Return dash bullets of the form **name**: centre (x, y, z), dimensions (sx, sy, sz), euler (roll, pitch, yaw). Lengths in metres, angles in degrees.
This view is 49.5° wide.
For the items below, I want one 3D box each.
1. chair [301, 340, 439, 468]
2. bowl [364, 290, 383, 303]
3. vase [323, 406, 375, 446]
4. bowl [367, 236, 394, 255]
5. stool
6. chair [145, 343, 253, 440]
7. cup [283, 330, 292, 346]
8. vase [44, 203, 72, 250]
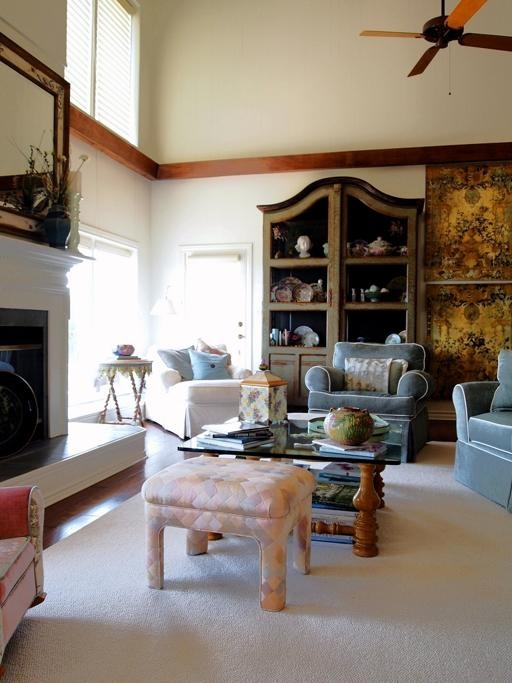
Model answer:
- **chair**: centre (0.824, 0.387, 4.200), dimensions (0.941, 0.865, 0.845), euler (0, -3, 32)
- **bowl**: centre (1.170, -0.438, 5.515), dimensions (0.139, 0.090, 0.137), euler (0, -3, 0)
- **vase**: centre (0.365, 0.335, 2.225), dimensions (0.155, 0.111, 0.152), euler (-1, -3, -5)
- **bowl**: centre (1.237, -0.917, 5.507), dimensions (0.197, 0.118, 0.195), euler (0, -1, 0)
- **stool**: centre (-0.077, 0.565, 1.858), dimensions (0.470, 0.368, 0.471), euler (-1, -3, 19)
- **chair**: centre (-0.574, 0.446, 5.013), dimensions (0.708, 0.647, 0.867), euler (-1, 1, -24)
- **cup**: centre (0.317, -0.021, 5.790), dimensions (0.125, 0.175, 0.130), euler (0, 0, 0)
- **vase**: centre (-1.200, -0.708, 3.358), dimensions (0.183, 0.285, 0.174), euler (8, 11, 35)
